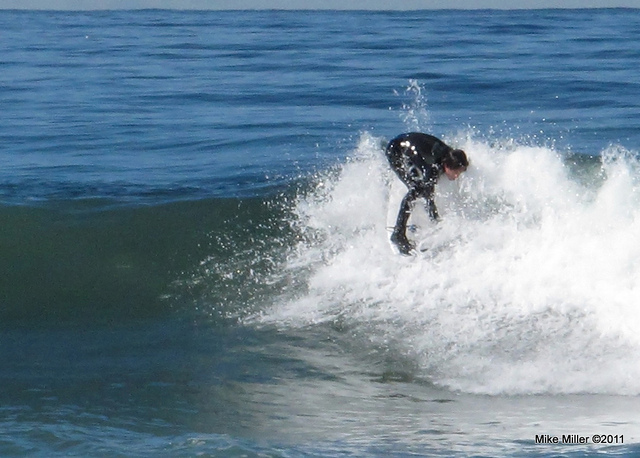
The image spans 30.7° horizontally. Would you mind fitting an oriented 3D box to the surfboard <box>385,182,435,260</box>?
[{"bbox_3d":[2.126,-0.150,27.823,1.223,1.625,0.417,-6,10,-1],"label":"surfboard"}]
